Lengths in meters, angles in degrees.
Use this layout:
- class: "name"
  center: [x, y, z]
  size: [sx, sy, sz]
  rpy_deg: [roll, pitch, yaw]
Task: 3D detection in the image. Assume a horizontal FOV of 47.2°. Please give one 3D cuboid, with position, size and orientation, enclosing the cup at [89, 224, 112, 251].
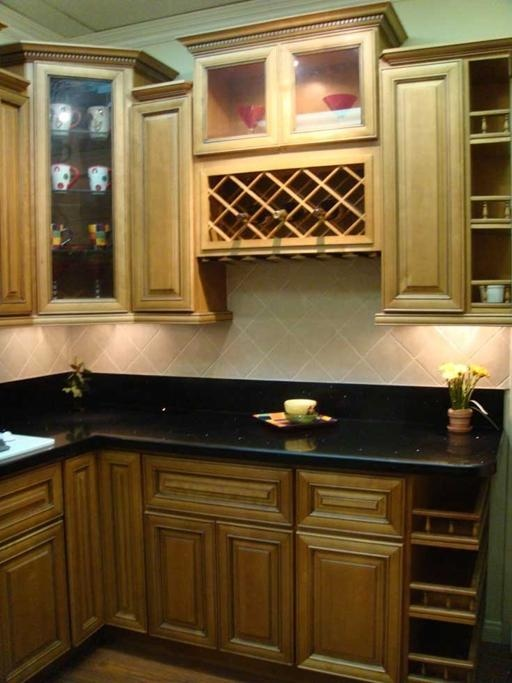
- class: "cup"
  center: [-0.648, -0.439, 2.484]
  size: [0.093, 0.119, 0.124]
  rpy_deg: [0, 9, 8]

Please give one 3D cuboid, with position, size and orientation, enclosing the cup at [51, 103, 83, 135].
- class: "cup"
  center: [-0.767, -0.885, 2.354]
  size: [0.128, 0.110, 0.082]
  rpy_deg: [2, -2, -45]

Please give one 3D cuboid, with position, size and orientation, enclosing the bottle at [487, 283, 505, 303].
- class: "bottle"
  center: [0.801, -0.162, 1.960]
  size: [0.061, 0.063, 0.060]
  rpy_deg: [0, 1, -1]

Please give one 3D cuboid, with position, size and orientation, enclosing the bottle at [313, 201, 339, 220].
- class: "bottle"
  center: [0.255, -0.483, 2.154]
  size: [0.089, 0.082, 0.126]
  rpy_deg: [2, 8, 10]

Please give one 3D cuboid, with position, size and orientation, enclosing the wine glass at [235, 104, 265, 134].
- class: "wine glass"
  center: [-0.028, -0.862, 2.269]
  size: [0.111, 0.081, 0.108]
  rpy_deg: [-1, 3, -12]

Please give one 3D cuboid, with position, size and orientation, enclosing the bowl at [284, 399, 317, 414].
- class: "bowl"
  center: [0.168, 0.259, 2.282]
  size: [0.108, 0.051, 0.096]
  rpy_deg: [-3, 8, -21]

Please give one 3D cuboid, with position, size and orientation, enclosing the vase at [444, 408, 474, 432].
- class: "vase"
  center: [0.753, 0.297, 2.170]
  size: [0.088, 0.081, 0.087]
  rpy_deg: [2, 2, 28]

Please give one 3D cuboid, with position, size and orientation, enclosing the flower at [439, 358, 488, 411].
- class: "flower"
  center: [0.782, 0.164, 2.213]
  size: [0.169, 0.174, 0.239]
  rpy_deg: [3, 8, 19]

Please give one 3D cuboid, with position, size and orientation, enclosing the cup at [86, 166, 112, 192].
- class: "cup"
  center: [-0.647, -0.671, 2.412]
  size: [0.074, 0.107, 0.112]
  rpy_deg: [2, 4, 25]

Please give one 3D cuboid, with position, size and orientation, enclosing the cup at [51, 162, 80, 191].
- class: "cup"
  center: [-0.769, -0.658, 2.346]
  size: [0.118, 0.105, 0.074]
  rpy_deg: [1, 5, -22]

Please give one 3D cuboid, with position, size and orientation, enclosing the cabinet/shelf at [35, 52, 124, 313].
- class: "cabinet/shelf"
  center: [-0.740, -0.622, 2.465]
  size: [0.384, 0.999, 0.245]
  rpy_deg: [-1, 6, -23]

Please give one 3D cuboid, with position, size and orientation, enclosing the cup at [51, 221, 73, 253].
- class: "cup"
  center: [-0.782, -0.421, 2.345]
  size: [0.095, 0.115, 0.087]
  rpy_deg: [1, 10, 0]
